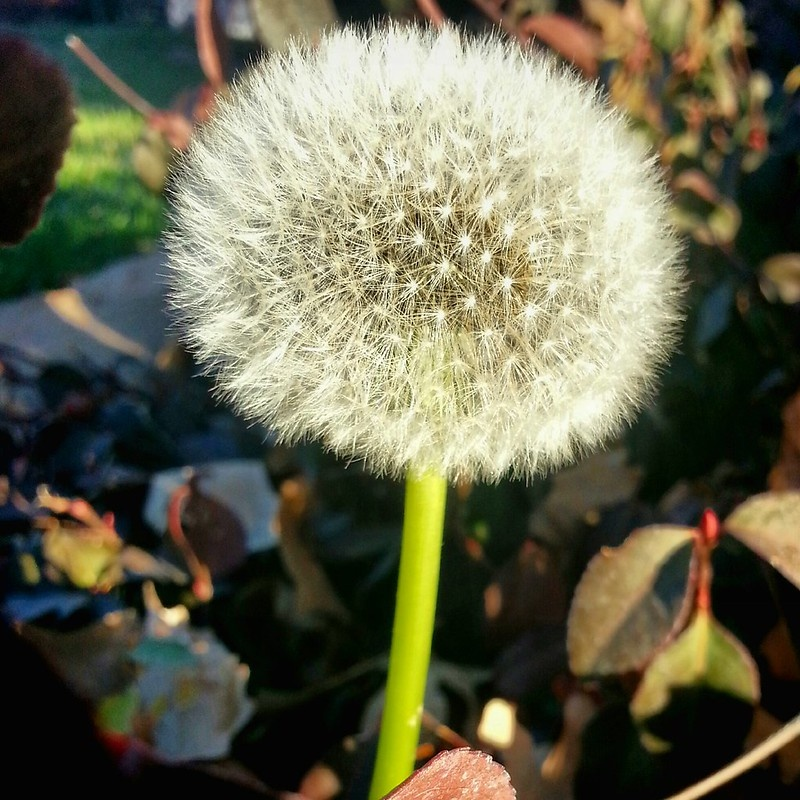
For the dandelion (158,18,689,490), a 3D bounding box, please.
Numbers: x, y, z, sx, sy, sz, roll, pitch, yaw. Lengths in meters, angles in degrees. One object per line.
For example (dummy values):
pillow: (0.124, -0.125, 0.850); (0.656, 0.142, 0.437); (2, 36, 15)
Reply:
dandelion: (0.019, -0.106, 0.653); (0.352, 0.213, 0.266); (-6, 47, -10)
